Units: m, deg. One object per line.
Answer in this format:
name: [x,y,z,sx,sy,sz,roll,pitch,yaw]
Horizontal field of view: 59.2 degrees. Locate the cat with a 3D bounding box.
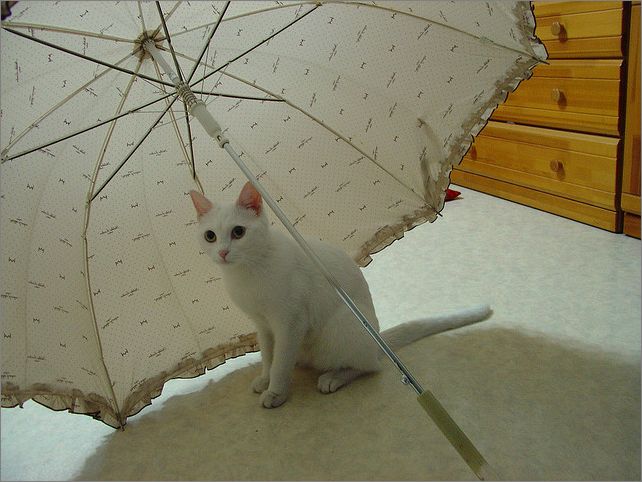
cat: [0.111,0.128,1.901,0.958,0.689,0.288,-8,9,-24]
